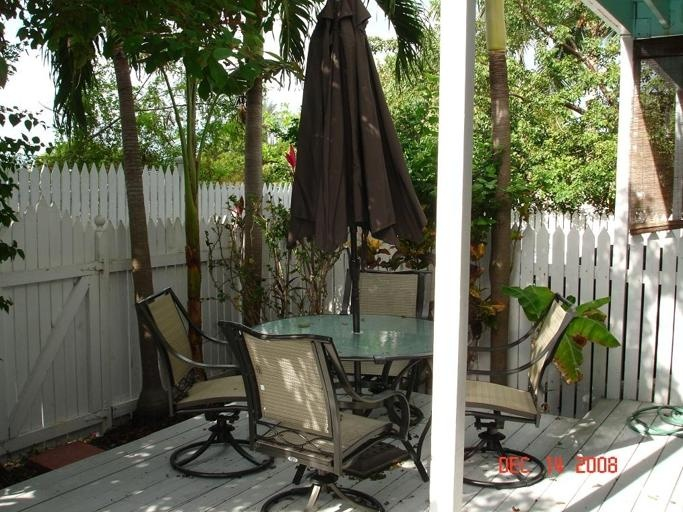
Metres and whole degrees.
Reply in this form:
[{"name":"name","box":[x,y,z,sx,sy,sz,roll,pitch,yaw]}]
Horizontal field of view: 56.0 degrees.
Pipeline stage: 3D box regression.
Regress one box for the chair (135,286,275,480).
[{"name":"chair","box":[-1.021,0.947,5.023,0.893,1.344,0.838,-2,6,-7]}]

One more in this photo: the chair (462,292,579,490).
[{"name":"chair","box":[1.306,0.983,4.785,0.813,1.432,1.290,-3,-1,13]}]
